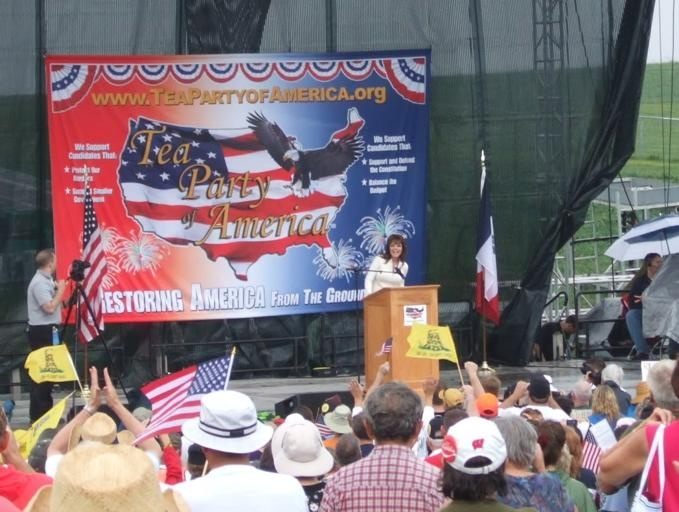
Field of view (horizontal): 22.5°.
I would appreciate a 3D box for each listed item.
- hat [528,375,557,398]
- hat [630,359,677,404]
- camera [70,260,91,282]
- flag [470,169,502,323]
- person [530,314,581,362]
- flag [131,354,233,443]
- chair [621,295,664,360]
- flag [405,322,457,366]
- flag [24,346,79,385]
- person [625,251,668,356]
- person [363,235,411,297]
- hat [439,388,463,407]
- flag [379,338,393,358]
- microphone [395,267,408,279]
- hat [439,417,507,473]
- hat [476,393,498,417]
[{"bbox_3d":[2.721,1.741,22.911,0.301,0.279,0.817,4,9,8],"label":"hat"},{"bbox_3d":[3.956,1.622,21.086,0.502,0.378,0.684,1,11,17],"label":"hat"},{"bbox_3d":[-3.812,0.233,24.443,0.269,0.299,0.107,4,-4,-34],"label":"camera"},{"bbox_3d":[2.473,-0.157,28.226,0.313,2.536,0.820,-1,9,-18],"label":"flag"},{"bbox_3d":[3.757,1.482,29.527,0.407,1.060,0.553,34,-1,-12],"label":"person"},{"bbox_3d":[-2.030,1.792,21.117,1.133,1.457,0.063,-8,45,-25],"label":"flag"},{"bbox_3d":[5.018,1.232,28.267,0.474,1.072,1.563,2,9,-3],"label":"chair"},{"bbox_3d":[1.253,1.254,23.724,0.801,0.672,0.118,4,-5,-3],"label":"flag"},{"bbox_3d":[-4.011,1.551,23.467,0.815,0.694,0.156,1,-3,-1],"label":"flag"},{"bbox_3d":[5.204,0.805,28.454,0.880,1.808,0.891,-5,17,-8],"label":"person"},{"bbox_3d":[0.713,0.157,25.851,0.607,0.907,0.958,3,9,4],"label":"person"},{"bbox_3d":[1.512,1.921,22.706,0.348,0.244,0.333,6,10,24],"label":"hat"},{"bbox_3d":[0.673,1.305,24.233,0.105,0.153,0.362,1,5,-18],"label":"flag"},{"bbox_3d":[0.930,0.284,25.953,0.145,0.205,0.218,5,9,17],"label":"microphone"},{"bbox_3d":[1.613,2.218,20.488,0.757,0.561,1.044,-12,12,-9],"label":"hat"},{"bbox_3d":[1.937,1.986,22.160,0.302,0.288,0.512,3,9,4],"label":"hat"}]
